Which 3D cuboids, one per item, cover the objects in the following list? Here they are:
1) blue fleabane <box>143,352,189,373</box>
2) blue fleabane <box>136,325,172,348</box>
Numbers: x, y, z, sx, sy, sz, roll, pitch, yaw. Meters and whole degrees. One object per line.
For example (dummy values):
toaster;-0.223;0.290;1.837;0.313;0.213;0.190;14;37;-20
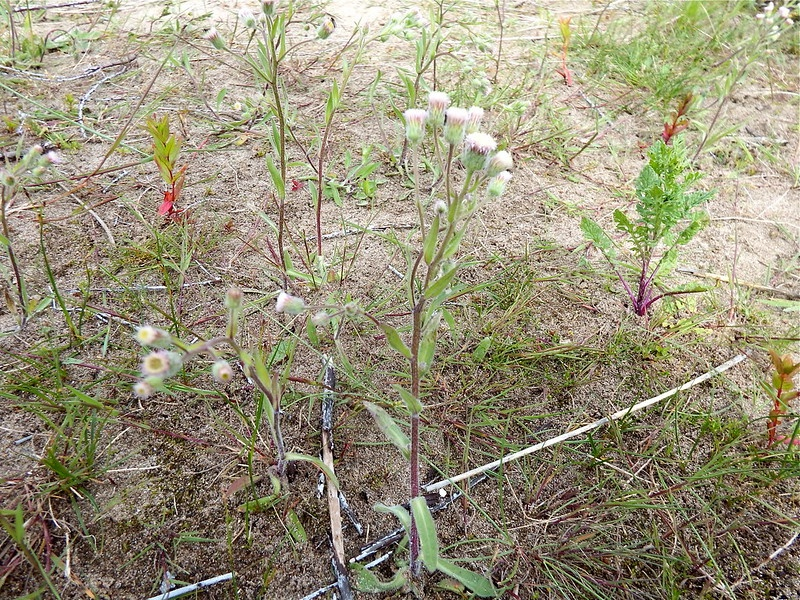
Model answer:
blue fleabane;-0.675;0.176;1.843;0.077;0.072;0.040;-1;10;-16
blue fleabane;-0.712;0.114;1.910;0.042;0.056;0.104;53;10;26
